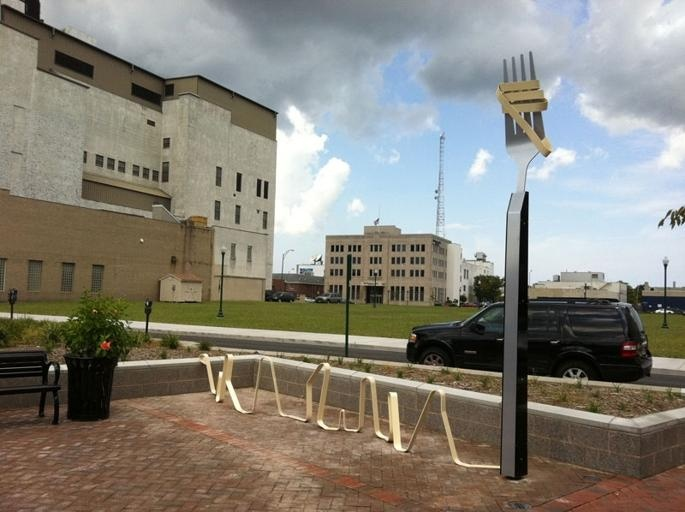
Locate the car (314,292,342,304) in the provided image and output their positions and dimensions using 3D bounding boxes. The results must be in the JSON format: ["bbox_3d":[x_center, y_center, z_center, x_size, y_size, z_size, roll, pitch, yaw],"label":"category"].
[{"bbox_3d":[-2.163,7.041,92.976,1.935,1.586,3.428,-8,-14,40],"label":"car"}]

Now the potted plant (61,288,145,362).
[{"bbox_3d":[-4.232,1.267,9.529,1.015,1.268,1.655,-1,-2,-25],"label":"potted plant"}]

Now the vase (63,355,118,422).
[{"bbox_3d":[-4.114,2.156,9.220,0.941,1.210,0.866,1,-10,-15],"label":"vase"}]
